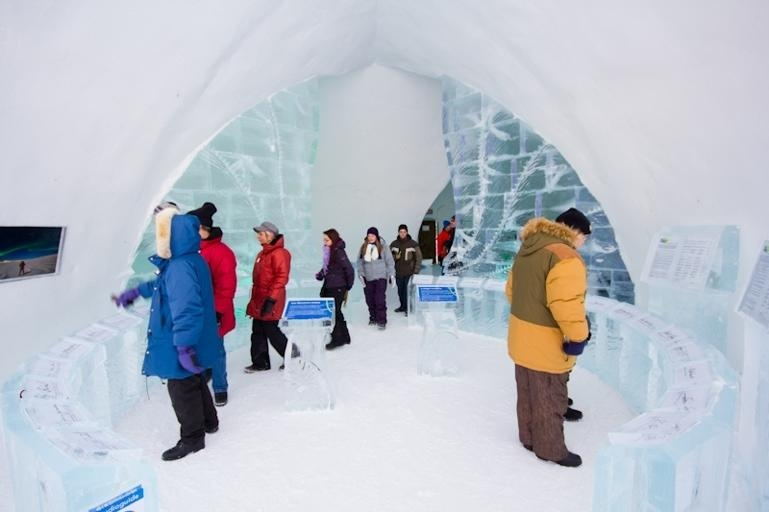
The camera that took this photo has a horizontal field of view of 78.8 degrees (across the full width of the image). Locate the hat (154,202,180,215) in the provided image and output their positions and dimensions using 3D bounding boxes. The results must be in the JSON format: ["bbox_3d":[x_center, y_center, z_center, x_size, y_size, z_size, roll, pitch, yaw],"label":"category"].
[{"bbox_3d":[-1.747,-0.401,3.755,0.222,0.111,0.137,-3,11,-9],"label":"hat"}]

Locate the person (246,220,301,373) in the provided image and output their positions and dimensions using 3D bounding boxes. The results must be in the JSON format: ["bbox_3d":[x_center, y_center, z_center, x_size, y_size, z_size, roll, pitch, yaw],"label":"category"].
[{"bbox_3d":[-1.309,0.485,5.144,0.554,1.703,0.393,-2,13,-6],"label":"person"}]

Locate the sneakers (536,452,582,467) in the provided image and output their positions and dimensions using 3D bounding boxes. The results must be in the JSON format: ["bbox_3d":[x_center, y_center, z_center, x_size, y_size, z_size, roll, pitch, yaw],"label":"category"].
[{"bbox_3d":[1.392,1.614,3.773,0.332,0.145,0.124,-3,-1,12],"label":"sneakers"}]

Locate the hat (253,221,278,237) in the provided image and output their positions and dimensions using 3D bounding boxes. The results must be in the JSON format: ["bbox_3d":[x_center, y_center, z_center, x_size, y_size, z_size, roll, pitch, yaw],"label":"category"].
[{"bbox_3d":[-1.281,-0.295,5.050,0.242,0.114,0.178,5,-1,-26],"label":"hat"}]

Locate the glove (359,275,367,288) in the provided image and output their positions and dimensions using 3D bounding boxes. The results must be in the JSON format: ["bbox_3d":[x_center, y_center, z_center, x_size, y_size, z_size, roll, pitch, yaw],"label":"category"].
[{"bbox_3d":[-0.329,0.380,7.156,0.110,0.151,0.052,-7,7,-34],"label":"glove"}]

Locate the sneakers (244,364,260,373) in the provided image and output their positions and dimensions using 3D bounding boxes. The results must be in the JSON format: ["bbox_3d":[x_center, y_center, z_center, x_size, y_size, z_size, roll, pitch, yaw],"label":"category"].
[{"bbox_3d":[-1.515,1.277,5.333,0.129,0.052,0.077,10,-6,-38],"label":"sneakers"}]

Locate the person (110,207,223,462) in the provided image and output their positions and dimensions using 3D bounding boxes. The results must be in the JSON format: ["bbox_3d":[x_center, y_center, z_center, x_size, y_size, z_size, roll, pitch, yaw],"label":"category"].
[{"bbox_3d":[-1.679,0.589,3.839,0.599,2.017,0.562,-6,15,-24],"label":"person"}]

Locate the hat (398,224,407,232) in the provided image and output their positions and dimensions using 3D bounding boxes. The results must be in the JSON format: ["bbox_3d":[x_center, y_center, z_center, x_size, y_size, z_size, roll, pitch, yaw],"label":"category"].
[{"bbox_3d":[0.296,-0.502,8.001,0.154,0.172,0.212,3,6,5],"label":"hat"}]

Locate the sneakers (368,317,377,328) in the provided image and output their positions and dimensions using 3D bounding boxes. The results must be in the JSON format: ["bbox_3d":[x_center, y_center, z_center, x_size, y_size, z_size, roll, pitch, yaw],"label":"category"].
[{"bbox_3d":[-0.182,1.021,7.225,0.087,0.116,0.041,1,2,31],"label":"sneakers"}]

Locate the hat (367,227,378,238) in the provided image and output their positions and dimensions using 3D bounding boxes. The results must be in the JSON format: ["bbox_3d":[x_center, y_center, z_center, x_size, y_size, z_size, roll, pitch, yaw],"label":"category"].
[{"bbox_3d":[-0.181,-0.397,7.076,0.133,0.184,0.153,2,-34,4],"label":"hat"}]

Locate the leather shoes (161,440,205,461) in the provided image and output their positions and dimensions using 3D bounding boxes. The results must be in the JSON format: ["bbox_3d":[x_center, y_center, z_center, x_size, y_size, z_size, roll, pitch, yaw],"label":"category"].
[{"bbox_3d":[-1.643,1.579,3.817,0.284,0.128,0.134,3,0,-36],"label":"leather shoes"}]

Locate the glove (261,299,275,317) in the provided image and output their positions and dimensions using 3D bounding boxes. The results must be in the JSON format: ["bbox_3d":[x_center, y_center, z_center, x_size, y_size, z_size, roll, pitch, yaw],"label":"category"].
[{"bbox_3d":[-1.249,0.557,4.982,0.123,0.169,0.064,16,-8,21],"label":"glove"}]

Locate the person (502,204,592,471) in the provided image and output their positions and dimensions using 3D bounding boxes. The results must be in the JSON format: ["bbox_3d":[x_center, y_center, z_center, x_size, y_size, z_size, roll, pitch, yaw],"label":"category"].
[{"bbox_3d":[1.321,0.626,3.787,0.622,1.974,0.597,3,14,15],"label":"person"}]

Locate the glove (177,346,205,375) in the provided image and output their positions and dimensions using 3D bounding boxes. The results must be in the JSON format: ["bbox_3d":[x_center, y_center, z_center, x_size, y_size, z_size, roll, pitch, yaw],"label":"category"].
[{"bbox_3d":[-1.516,0.803,3.676,0.210,0.165,0.088,3,18,39],"label":"glove"}]

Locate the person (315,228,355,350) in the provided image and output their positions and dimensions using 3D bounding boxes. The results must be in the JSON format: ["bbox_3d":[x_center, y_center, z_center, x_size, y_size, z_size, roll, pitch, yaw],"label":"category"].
[{"bbox_3d":[-0.652,0.449,6.270,0.469,1.559,0.740,-2,14,-9],"label":"person"}]

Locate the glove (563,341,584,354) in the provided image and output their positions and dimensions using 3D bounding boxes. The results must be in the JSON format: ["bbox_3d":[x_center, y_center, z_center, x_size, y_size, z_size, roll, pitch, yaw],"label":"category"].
[{"bbox_3d":[1.431,0.683,3.548,0.123,0.119,0.106,1,2,-5],"label":"glove"}]

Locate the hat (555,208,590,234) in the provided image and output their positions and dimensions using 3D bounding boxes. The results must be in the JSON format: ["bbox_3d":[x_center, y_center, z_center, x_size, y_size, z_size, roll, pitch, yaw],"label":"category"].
[{"bbox_3d":[1.535,-0.283,3.788,0.210,0.114,0.246,14,13,2],"label":"hat"}]

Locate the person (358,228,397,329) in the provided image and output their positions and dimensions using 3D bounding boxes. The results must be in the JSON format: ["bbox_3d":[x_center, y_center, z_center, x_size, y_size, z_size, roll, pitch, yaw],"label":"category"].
[{"bbox_3d":[-0.134,0.317,7.113,0.560,1.491,0.578,0,13,1],"label":"person"}]

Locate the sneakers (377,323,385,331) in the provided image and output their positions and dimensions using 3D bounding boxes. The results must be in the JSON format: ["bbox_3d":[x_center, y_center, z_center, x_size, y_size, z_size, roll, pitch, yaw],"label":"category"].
[{"bbox_3d":[-0.049,1.033,7.034,0.124,0.103,0.116,-2,14,-6],"label":"sneakers"}]
